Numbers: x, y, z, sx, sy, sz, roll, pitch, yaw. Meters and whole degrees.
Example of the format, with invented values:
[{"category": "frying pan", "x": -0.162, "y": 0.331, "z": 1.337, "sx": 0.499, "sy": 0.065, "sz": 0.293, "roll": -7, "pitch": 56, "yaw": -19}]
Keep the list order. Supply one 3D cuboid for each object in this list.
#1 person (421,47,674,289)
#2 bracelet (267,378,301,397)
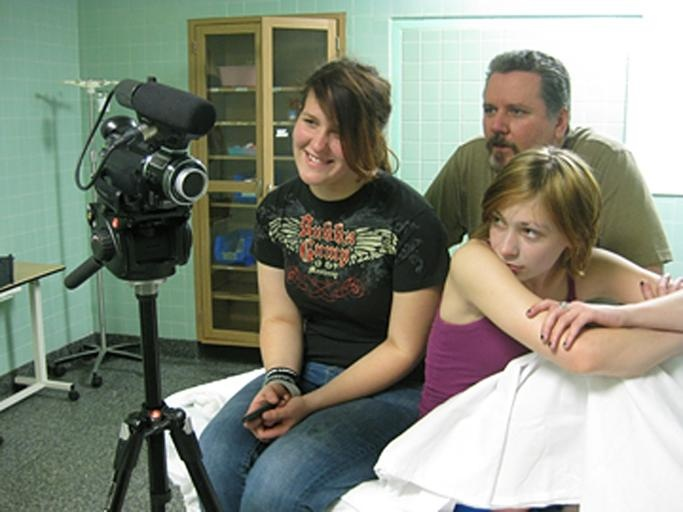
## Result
[{"category": "person", "x": 0.725, "y": -0.269, "z": 2.359, "sx": 0.571, "sy": 0.897, "sz": 1.106, "roll": -6, "pitch": 16, "yaw": -40}, {"category": "bracelet", "x": -0.186, "y": 0.418, "z": 2.000, "sx": 0.071, "sy": 0.042, "sz": 0.058, "roll": 30, "pitch": 3, "yaw": 13}]
